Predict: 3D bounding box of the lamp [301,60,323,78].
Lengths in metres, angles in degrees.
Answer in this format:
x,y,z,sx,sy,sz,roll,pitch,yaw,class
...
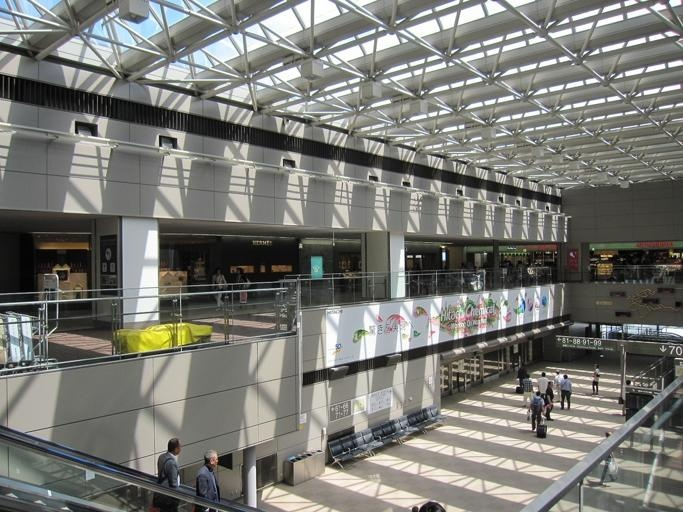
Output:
x,y,z,sx,sy,sz,roll,pitch,yaw,class
-0.929,-6.021,16.371,0.555,0.471,0.537,4,-9,-38,lamp

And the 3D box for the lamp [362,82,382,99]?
x,y,z,sx,sy,sz,roll,pitch,yaw,class
1.111,-5.951,18.185,0.603,0.582,0.622,-1,-2,43,lamp

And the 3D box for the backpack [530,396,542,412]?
x,y,z,sx,sy,sz,roll,pitch,yaw,class
9.146,6.900,23.535,0.432,0.596,0.443,-1,-1,25,backpack
